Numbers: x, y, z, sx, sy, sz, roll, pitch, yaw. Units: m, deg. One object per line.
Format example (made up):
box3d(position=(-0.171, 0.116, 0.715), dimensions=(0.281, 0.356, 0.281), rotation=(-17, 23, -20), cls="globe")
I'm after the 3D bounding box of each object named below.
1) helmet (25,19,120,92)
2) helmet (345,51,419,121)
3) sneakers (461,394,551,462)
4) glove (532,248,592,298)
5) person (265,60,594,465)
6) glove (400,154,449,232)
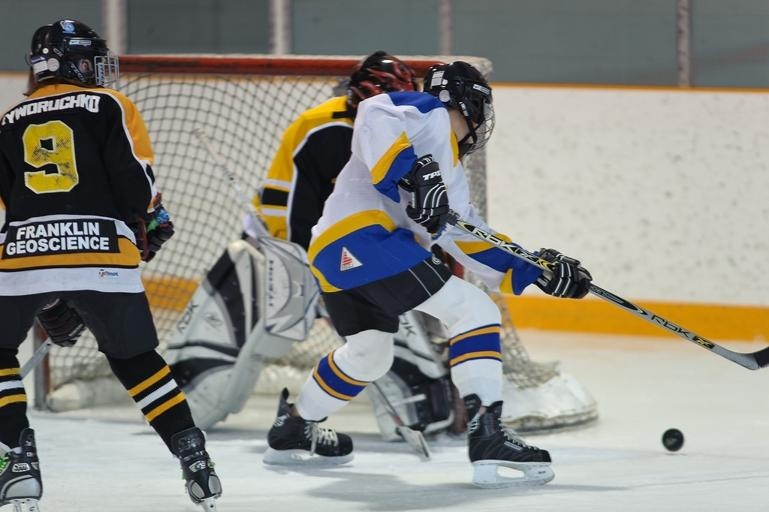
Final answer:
box3d(position=(-1.217, -0.801, 4.301), dimensions=(0.358, 0.245, 0.255), rotation=(3, 3, 6), cls="helmet")
box3d(position=(-0.014, -0.781, 4.844), dimensions=(0.343, 0.281, 0.254), rotation=(-7, 6, 7), cls="helmet")
box3d(position=(0.489, 0.711, 4.278), dimensions=(0.408, 0.234, 0.135), rotation=(5, -3, -17), cls="sneakers")
box3d(position=(0.713, 0.075, 4.315), dimensions=(0.214, 0.098, 0.207), rotation=(29, -12, -2), cls="glove")
box3d(position=(0.134, 0.066, 4.370), dimensions=(1.231, 1.685, 0.446), rotation=(4, 11, 26), cls="person")
box3d(position=(0.167, -0.233, 4.098), dimensions=(0.092, 0.255, 0.212), rotation=(-3, 2, 41), cls="glove")
